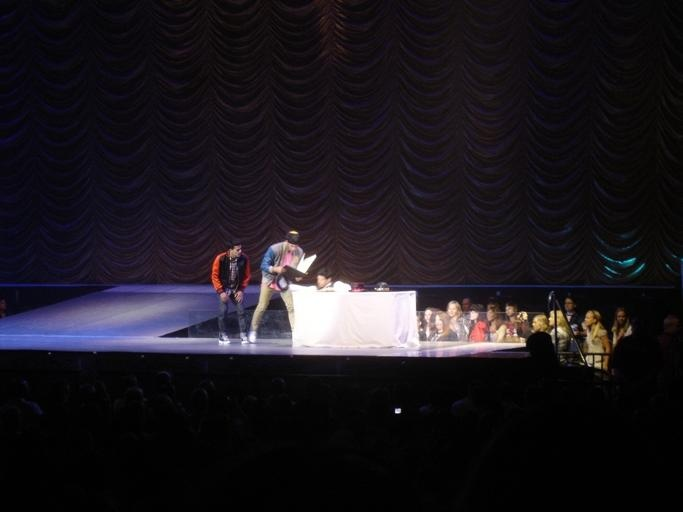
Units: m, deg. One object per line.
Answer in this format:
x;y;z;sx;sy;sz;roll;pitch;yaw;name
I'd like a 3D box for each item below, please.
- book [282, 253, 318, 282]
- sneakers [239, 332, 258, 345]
-0.557;0.106;8.421;0.485;0.162;0.366;-26;-11;-18;book
-1.299;1.125;8.491;0.209;0.138;0.209;-1;2;-5;sneakers
